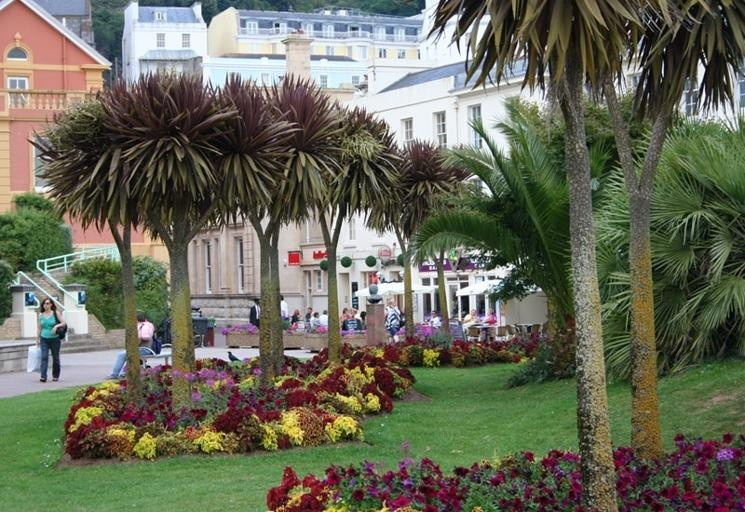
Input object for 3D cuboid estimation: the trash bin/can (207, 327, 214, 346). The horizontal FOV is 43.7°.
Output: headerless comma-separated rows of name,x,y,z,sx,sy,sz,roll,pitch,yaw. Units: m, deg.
trash bin/can,-5.728,2.827,32.526,0.261,0.618,0.232,1,-6,-33
